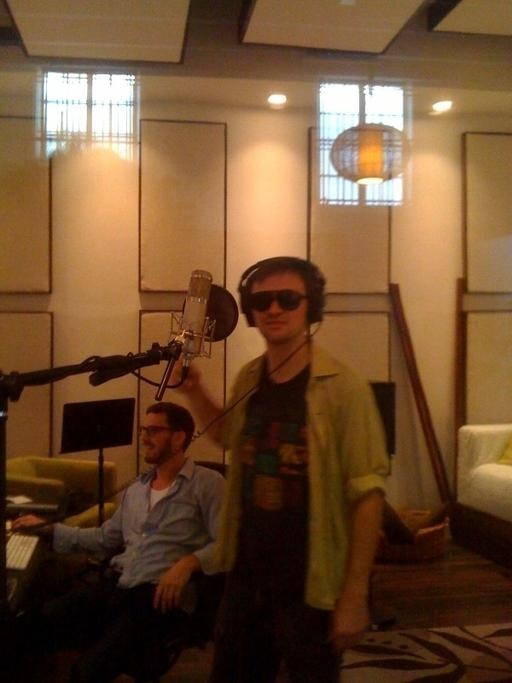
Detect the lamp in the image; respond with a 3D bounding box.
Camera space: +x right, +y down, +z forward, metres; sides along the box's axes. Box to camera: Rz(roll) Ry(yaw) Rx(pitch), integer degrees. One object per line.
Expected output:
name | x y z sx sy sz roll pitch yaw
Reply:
lamp | 0.256 -0.431 1.425 0.170 0.146 0.069 2 5 9
